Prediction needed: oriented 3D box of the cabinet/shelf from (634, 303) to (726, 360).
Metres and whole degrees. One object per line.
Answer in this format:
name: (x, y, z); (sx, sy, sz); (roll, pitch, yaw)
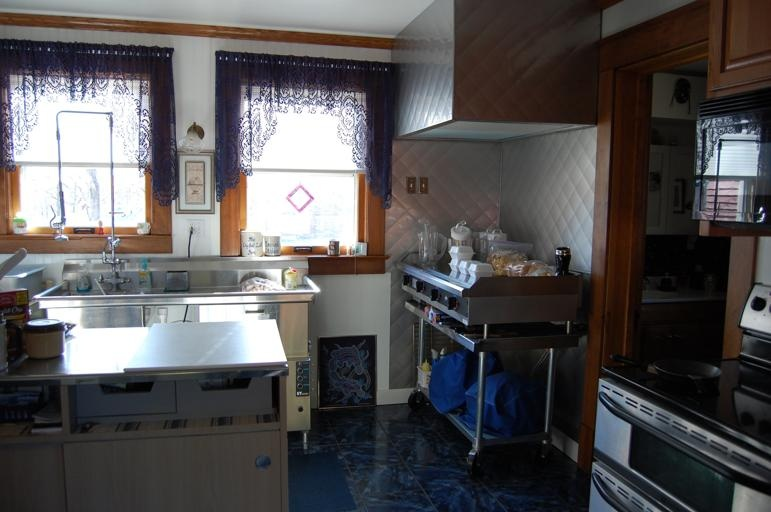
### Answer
cabinet/shelf: (2.391, 0.587, 4.775); (0.695, 0.521, 0.439); (-5, 10, 4)

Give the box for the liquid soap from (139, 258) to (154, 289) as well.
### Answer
liquid soap: (-1.989, 0.145, 4.755); (0.109, 0.241, 0.190); (-5, 15, -23)

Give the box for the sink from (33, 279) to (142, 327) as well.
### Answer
sink: (-2.247, 0.375, 4.474); (0.785, 0.259, 0.500); (0, 15, -2)

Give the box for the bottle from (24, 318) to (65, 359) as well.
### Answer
bottle: (-1.822, 0.450, 3.067); (0.177, 0.194, 0.186); (2, 4, 37)

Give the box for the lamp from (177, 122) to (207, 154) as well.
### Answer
lamp: (-1.615, -0.984, 4.762); (0.221, 0.249, 0.242); (-3, 15, -16)

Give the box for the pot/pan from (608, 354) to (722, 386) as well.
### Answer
pot/pan: (1.543, 0.606, 3.091); (0.356, 0.055, 0.217); (8, 8, 41)

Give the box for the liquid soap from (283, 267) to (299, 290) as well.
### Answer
liquid soap: (-0.803, 0.193, 4.808); (0.136, 0.201, 0.159); (1, 2, -16)

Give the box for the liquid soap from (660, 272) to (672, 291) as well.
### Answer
liquid soap: (2.492, 0.231, 5.086); (0.099, 0.177, 0.101); (-5, 9, -21)

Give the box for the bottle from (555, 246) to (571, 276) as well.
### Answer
bottle: (1.280, 0.028, 4.137); (0.098, 0.175, 0.249); (4, 15, 15)

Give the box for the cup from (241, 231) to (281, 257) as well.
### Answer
cup: (-1.077, -0.095, 4.964); (0.323, 0.214, 0.188); (0, 3, -11)

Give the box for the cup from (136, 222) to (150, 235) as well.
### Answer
cup: (-2.036, -0.235, 4.825); (0.097, 0.098, 0.097); (3, 0, 0)

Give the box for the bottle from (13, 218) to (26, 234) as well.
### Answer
bottle: (-2.998, -0.238, 4.697); (0.104, 0.134, 0.106); (0, 3, 0)

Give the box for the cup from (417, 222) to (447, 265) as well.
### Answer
cup: (0.345, -0.109, 5.214); (0.336, 0.468, 0.253); (0, 2, -14)
